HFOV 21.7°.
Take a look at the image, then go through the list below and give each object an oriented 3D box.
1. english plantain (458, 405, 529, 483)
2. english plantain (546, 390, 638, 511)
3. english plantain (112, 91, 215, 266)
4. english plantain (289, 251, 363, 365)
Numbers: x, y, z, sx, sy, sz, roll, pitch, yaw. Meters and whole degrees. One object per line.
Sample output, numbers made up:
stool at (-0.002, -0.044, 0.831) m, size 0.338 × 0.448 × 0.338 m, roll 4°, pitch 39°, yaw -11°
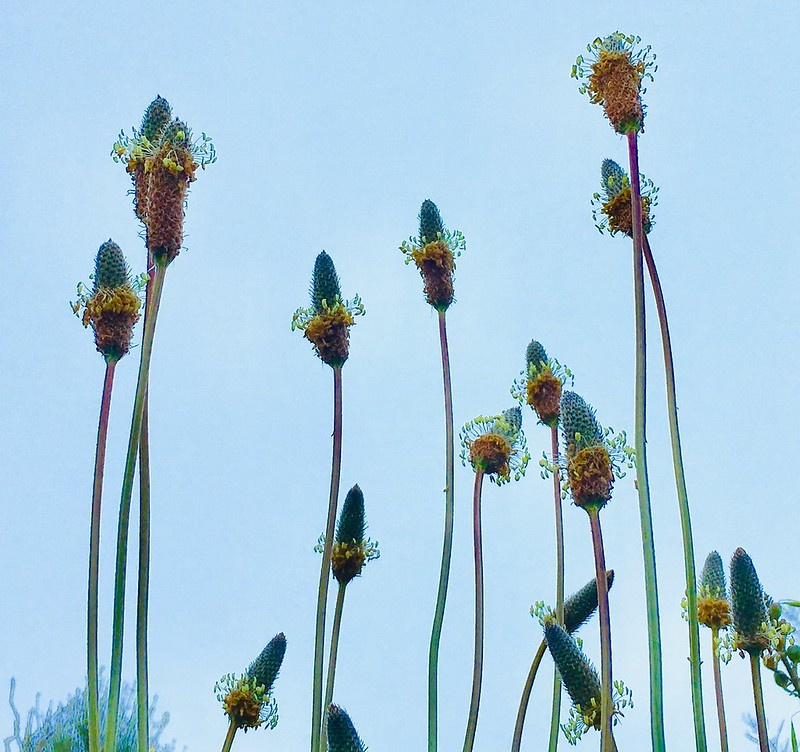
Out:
english plantain at (0.681, 0.532, 14.851) m, size 0.336 × 0.603 × 0.485 m, roll -6°, pitch -56°, yaw 16°
english plantain at (1.259, 0.535, 13.910) m, size 0.420 × 0.862 × 0.522 m, roll -12°, pitch -31°, yaw 11°
english plantain at (-1.788, -1.526, 15.809) m, size 0.665 × 1.534 × 0.726 m, roll 16°, pitch -27°, yaw -35°
english plantain at (-0.530, -0.410, 15.596) m, size 0.455 × 1.140 × 0.531 m, roll -8°, pitch -14°, yaw 12°
